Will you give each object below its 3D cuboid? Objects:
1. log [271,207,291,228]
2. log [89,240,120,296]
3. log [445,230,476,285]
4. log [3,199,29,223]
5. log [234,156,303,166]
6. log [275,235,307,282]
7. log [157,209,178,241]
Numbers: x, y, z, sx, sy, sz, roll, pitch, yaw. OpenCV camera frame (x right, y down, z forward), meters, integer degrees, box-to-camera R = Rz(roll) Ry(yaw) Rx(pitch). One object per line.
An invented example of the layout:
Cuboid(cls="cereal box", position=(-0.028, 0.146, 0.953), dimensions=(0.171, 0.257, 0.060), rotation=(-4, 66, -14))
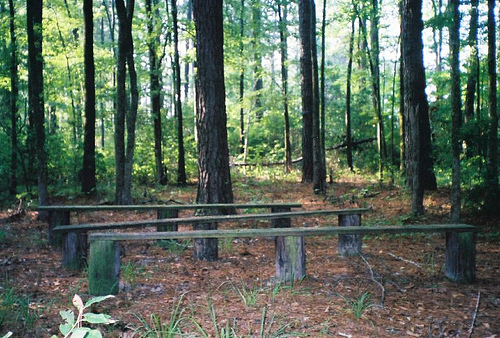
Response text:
Cuboid(cls="log", position=(0.945, 1.593, 23.118), dimensions=(0.638, 0.743, 0.630), rotation=(3, 0, -5))
Cuboid(cls="log", position=(-4.315, 2.891, 20.399), dimensions=(0.959, 1.638, 0.308), rotation=(-5, 3, -13))
Cuboid(cls="log", position=(6.256, 2.620, 20.672), dimensions=(0.904, 1.640, 0.339), rotation=(-3, 3, 16))
Cuboid(cls="log", position=(-8.704, 1.617, 25.746), dimensions=(0.639, 0.668, 0.418), rotation=(2, -5, -11))
Cuboid(cls="log", position=(1.113, -0.358, 37.136), dimensions=(3.936, 0.410, 1.338), rotation=(-3, 3, 30))
Cuboid(cls="log", position=(1.186, 2.663, 20.690), dimensions=(0.916, 1.341, 0.288), rotation=(-4, 3, 1))
Cuboid(cls="log", position=(-2.770, 1.788, 22.726), dimensions=(0.899, 0.920, 0.231), rotation=(-2, 0, 0))
